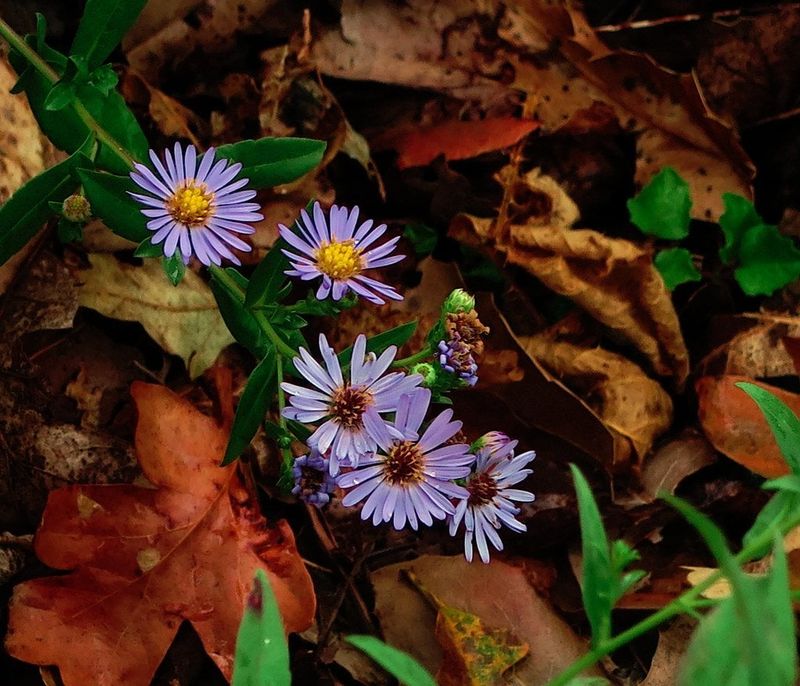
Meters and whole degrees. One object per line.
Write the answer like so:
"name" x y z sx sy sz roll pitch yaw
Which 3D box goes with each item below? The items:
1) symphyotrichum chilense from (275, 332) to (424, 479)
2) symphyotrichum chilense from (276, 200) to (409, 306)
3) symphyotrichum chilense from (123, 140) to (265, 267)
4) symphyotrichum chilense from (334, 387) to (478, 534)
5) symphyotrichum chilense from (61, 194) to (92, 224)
"symphyotrichum chilense" -0.171 0.190 2.884 0.398 0.375 0.371 40 63 12
"symphyotrichum chilense" -0.205 -0.302 2.974 0.358 0.397 0.141 -17 61 32
"symphyotrichum chilense" -0.645 -0.444 2.947 0.371 0.433 0.185 -2 76 15
"symphyotrichum chilense" -0.013 0.346 2.824 0.443 0.152 0.428 3 14 -44
"symphyotrichum chilense" -0.978 -0.403 2.905 0.078 0.078 0.039 20 23 -14
